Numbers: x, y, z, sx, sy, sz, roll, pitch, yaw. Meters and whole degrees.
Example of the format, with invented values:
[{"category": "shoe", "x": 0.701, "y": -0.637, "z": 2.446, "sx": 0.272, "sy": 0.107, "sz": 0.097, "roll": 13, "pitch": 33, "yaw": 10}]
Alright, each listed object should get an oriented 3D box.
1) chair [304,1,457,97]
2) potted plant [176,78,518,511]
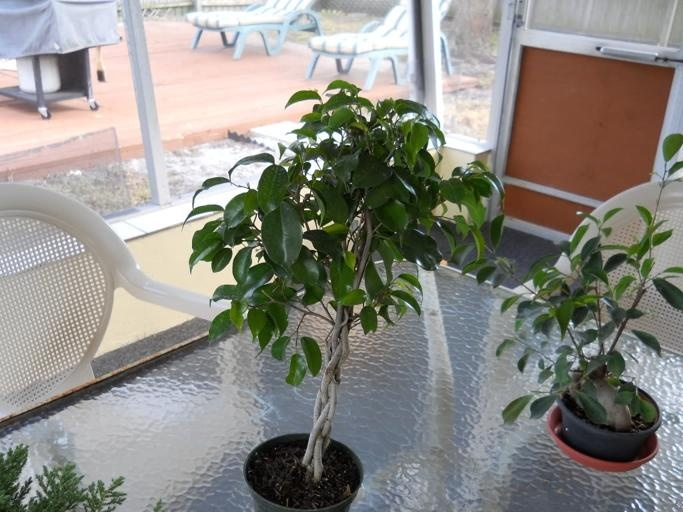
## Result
[{"category": "chair", "x": 0.263, "y": -1.439, "z": 3.391, "sx": 0.546, "sy": 0.628, "sz": 0.922, "roll": 31, "pitch": 45, "yaw": 32}, {"category": "potted plant", "x": -0.021, "y": 0.041, "z": 0.988, "sx": 0.582, "sy": 0.766, "sz": 0.569, "roll": -20, "pitch": 32, "yaw": -39}]
